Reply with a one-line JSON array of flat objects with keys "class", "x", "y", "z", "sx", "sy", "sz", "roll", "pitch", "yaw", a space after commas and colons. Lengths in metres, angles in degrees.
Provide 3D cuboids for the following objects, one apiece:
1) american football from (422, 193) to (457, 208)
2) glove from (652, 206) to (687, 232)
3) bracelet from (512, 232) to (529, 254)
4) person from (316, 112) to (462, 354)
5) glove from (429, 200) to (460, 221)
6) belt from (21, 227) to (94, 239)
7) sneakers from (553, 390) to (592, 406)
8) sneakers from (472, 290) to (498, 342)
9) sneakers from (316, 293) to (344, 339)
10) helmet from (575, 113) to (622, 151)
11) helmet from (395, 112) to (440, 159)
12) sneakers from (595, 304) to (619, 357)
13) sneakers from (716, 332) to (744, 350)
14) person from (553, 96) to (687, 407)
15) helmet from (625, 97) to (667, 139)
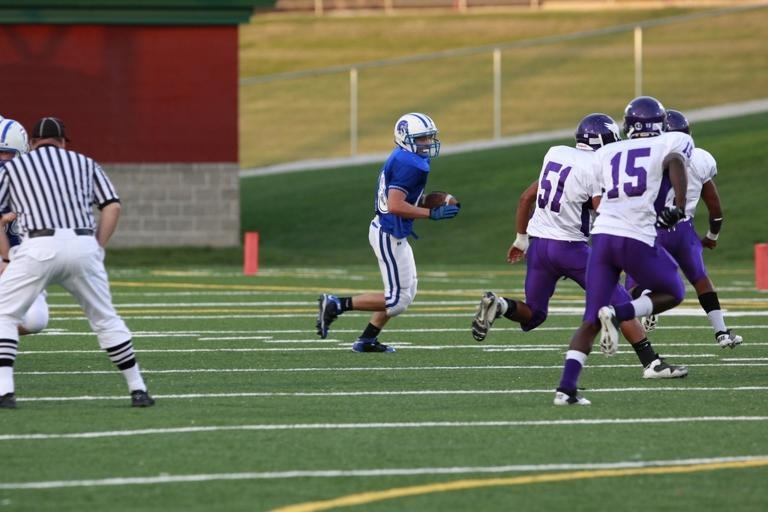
[{"class": "american football", "x": 0.566, "y": -0.629, "z": 15.529, "sx": 0.330, "sy": 0.086, "sz": 0.201, "roll": -2, "pitch": -3, "yaw": 12}, {"class": "glove", "x": 2.741, "y": -0.382, "z": 13.467, "sx": 0.287, "sy": 0.150, "sz": 0.208, "roll": -8, "pitch": 19, "yaw": -42}, {"class": "bracelet", "x": 1.410, "y": -0.133, "z": 14.850, "sx": 0.196, "sy": 0.091, "sz": 0.217, "roll": 10, "pitch": -32, "yaw": -4}, {"class": "person", "x": 0.058, "y": -0.244, "z": 15.437, "sx": 1.367, "sy": 2.689, "sz": 0.687, "roll": 4, "pitch": 8, "yaw": 0}, {"class": "glove", "x": 0.615, "y": -0.498, "z": 15.254, "sx": 0.301, "sy": 0.175, "sz": 0.410, "roll": 3, "pitch": 6, "yaw": 5}, {"class": "belt", "x": -3.047, "y": -0.217, "z": 13.036, "sx": 0.593, "sy": 0.102, "sz": 0.147, "roll": 1, "pitch": 7, "yaw": -13}, {"class": "sneakers", "x": 1.729, "y": 1.372, "z": 13.304, "sx": 0.400, "sy": 0.120, "sz": 0.125, "roll": 0, "pitch": 5, "yaw": -11}, {"class": "sneakers", "x": 1.004, "y": 0.619, "z": 14.250, "sx": 0.261, "sy": 0.529, "sz": 0.281, "roll": 5, "pitch": 8, "yaw": 5}, {"class": "sneakers", "x": -0.634, "y": 0.666, "z": 15.566, "sx": 0.351, "sy": 0.513, "sz": 0.205, "roll": 6, "pitch": 5, "yaw": 2}, {"class": "helmet", "x": 2.105, "y": -1.267, "z": 14.263, "sx": 0.460, "sy": 0.374, "sz": 0.593, "roll": 8, "pitch": 9, "yaw": 32}, {"class": "helmet", "x": 0.281, "y": -1.390, "z": 15.522, "sx": 0.632, "sy": 0.364, "sz": 0.420, "roll": 2, "pitch": 22, "yaw": -5}, {"class": "sneakers", "x": 2.093, "y": 0.685, "z": 13.110, "sx": 0.200, "sy": 0.413, "sz": 0.215, "roll": -8, "pitch": 19, "yaw": 32}, {"class": "sneakers", "x": 3.674, "y": 0.920, "z": 15.119, "sx": 0.237, "sy": 0.174, "sz": 0.257, "roll": 3, "pitch": 7, "yaw": 3}, {"class": "person", "x": 2.259, "y": -0.050, "z": 13.352, "sx": 0.811, "sy": 2.953, "sz": 1.109, "roll": 10, "pitch": 10, "yaw": 36}, {"class": "helmet", "x": 2.514, "y": -1.371, "z": 13.665, "sx": 0.491, "sy": 0.382, "sz": 0.540, "roll": -2, "pitch": 7, "yaw": 9}]
